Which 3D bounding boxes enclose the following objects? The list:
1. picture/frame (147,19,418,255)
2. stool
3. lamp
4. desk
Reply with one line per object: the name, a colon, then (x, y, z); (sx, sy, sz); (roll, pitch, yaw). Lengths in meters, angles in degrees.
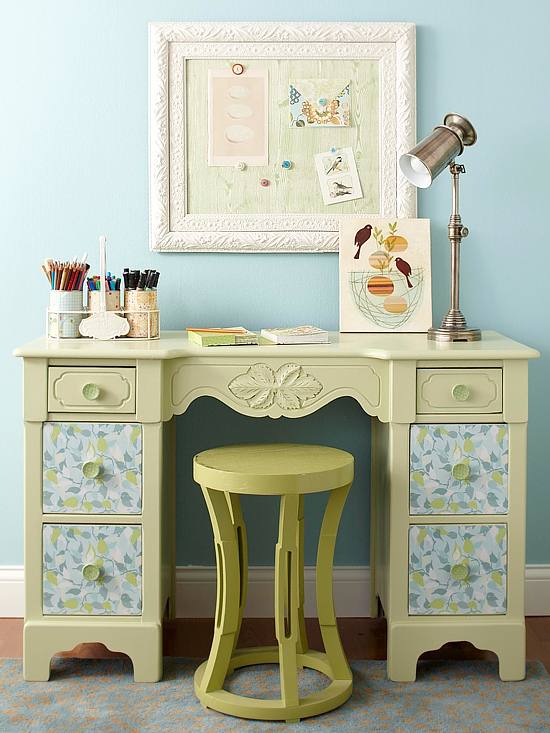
picture/frame: (0.024, -0.632, 2.026); (0.621, 0.522, 0.044); (0, 8, 0)
stool: (-0.001, 0.453, 1.692); (0.349, 0.528, 0.355); (0, 4, -6)
lamp: (0.417, -0.347, 1.916); (0.194, 0.559, 0.355); (1, 5, 14)
desk: (0.012, 0.331, 1.861); (1.137, 0.752, 0.407); (0, -1, 4)
